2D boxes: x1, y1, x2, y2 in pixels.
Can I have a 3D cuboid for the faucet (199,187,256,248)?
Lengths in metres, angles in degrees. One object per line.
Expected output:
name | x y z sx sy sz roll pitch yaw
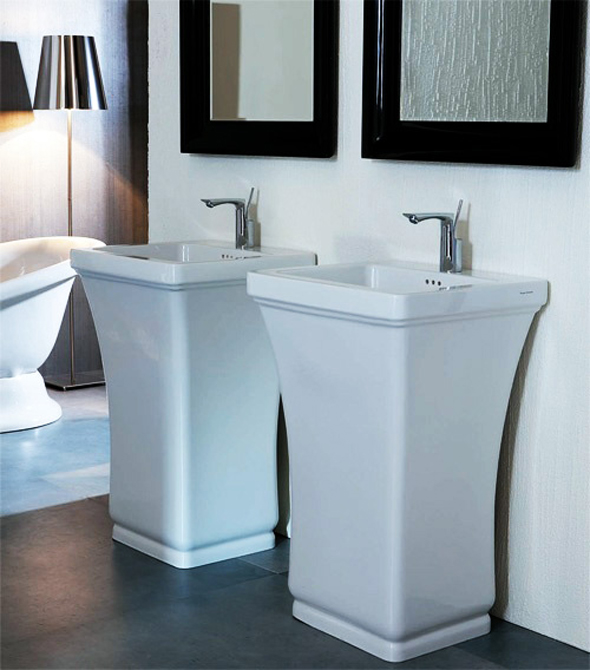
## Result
faucet | -0.175 -0.336 1.912 0.138 0.187 0.333 -1 3 -3
